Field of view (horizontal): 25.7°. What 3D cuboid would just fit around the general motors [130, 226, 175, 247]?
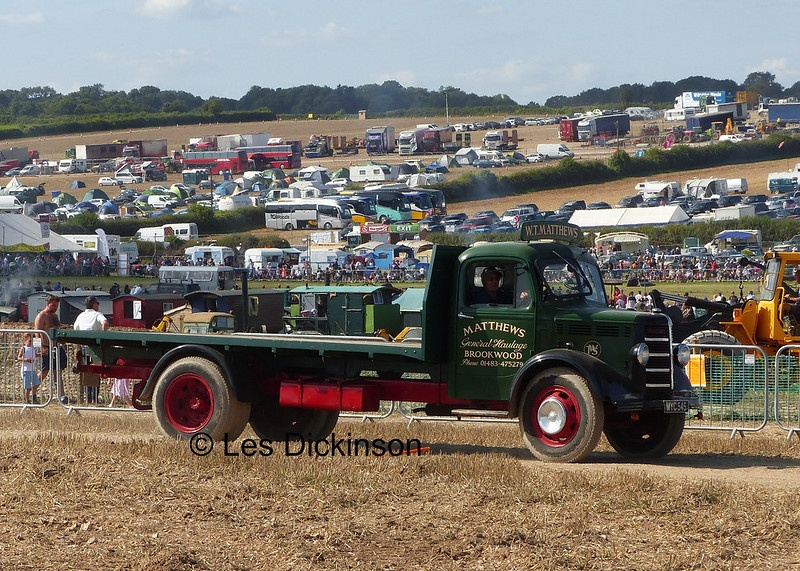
[{"bbox_3d":[-16.528,-3.510,118.543,2.369,1.338,1.424,3,3,16],"label":"general motors"}]

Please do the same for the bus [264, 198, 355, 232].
[{"bbox_3d":[-6.596,-4.934,126.737,8.006,3.115,2.493,1,5,28],"label":"bus"}]

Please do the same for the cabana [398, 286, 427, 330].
[{"bbox_3d":[0.423,0.837,75.496,1.349,1.426,1.385,1,-1,-38],"label":"cabana"}]

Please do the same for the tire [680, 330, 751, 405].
[{"bbox_3d":[11.494,2.802,60.925,0.768,2.484,2.338,-2,11,-23],"label":"tire"}]

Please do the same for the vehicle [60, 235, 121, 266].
[{"bbox_3d":[-18.914,-2.015,107.867,3.226,1.985,2.066,4,4,16],"label":"vehicle"}]

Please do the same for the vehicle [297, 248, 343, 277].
[{"bbox_3d":[-4.914,-1.435,104.475,2.961,1.640,1.483,-2,2,31],"label":"vehicle"}]

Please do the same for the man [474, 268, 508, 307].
[{"bbox_3d":[2.986,-0.040,57.218,1.360,1.319,0.926,-5,5,-22],"label":"man"}]

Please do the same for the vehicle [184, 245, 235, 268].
[{"bbox_3d":[-11.643,-1.877,105.081,1.966,1.178,1.512,2,2,20],"label":"vehicle"}]

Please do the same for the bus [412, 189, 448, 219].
[{"bbox_3d":[2.460,-6.257,129.215,1.161,1.480,3.031,-3,4,-14],"label":"bus"}]

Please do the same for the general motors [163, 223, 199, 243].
[{"bbox_3d":[-15.042,-3.688,119.131,1.839,1.132,1.204,2,3,9],"label":"general motors"}]

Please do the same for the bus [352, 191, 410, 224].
[{"bbox_3d":[-1.438,-5.837,126.536,4.023,2.116,1.527,0,4,23],"label":"bus"}]

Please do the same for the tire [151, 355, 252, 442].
[{"bbox_3d":[-6.447,3.654,57.526,2.414,2.684,0.904,5,2,30],"label":"tire"}]

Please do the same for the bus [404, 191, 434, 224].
[{"bbox_3d":[1.407,-5.864,127.128,2.250,2.148,1.691,0,2,28],"label":"bus"}]

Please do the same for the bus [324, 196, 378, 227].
[{"bbox_3d":[-3.108,-5.542,126.033,4.517,2.242,1.595,-1,6,19],"label":"bus"}]

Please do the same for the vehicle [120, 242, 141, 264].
[{"bbox_3d":[-16.326,-2.127,105.581,0.851,0.850,1.387,-1,11,-12],"label":"vehicle"}]
